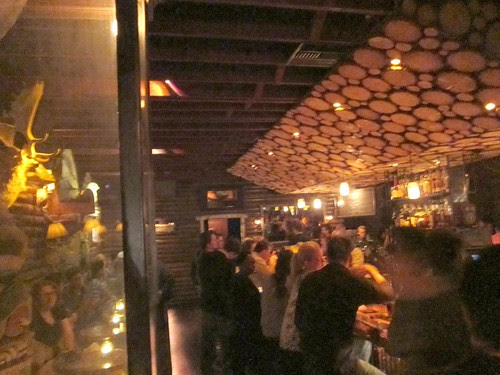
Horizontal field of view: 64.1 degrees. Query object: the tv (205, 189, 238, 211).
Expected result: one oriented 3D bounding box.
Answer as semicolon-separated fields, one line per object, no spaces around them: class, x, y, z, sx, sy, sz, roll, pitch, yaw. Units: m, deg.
tv;-0.149;0.062;2.053;0.203;0.107;0.099;2;-17;-21
